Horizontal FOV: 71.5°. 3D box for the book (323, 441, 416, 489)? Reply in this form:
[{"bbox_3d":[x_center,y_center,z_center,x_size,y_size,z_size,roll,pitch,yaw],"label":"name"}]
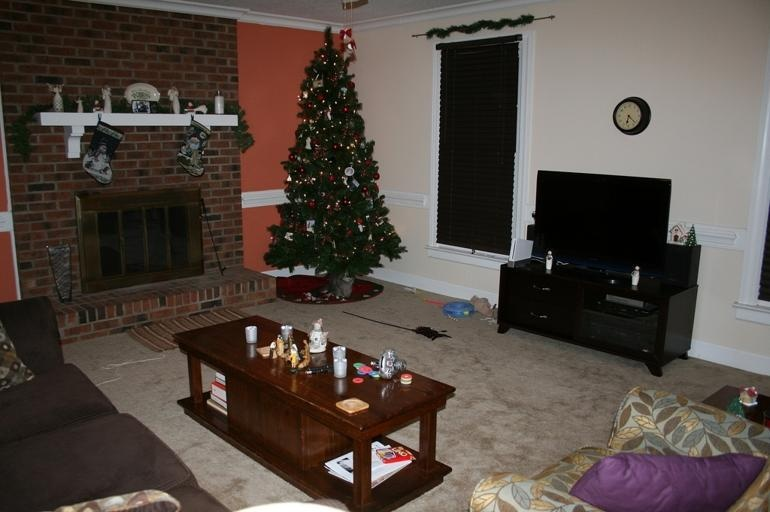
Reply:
[{"bbox_3d":[-0.055,1.343,3.446,0.306,0.040,0.387,15,19,41],"label":"book"}]

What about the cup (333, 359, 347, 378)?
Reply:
[{"bbox_3d":[-0.293,0.734,3.530,0.106,0.116,0.104,0,10,0],"label":"cup"}]

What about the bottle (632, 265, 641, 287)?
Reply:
[{"bbox_3d":[2.291,0.177,4.898,0.075,0.153,0.251,7,13,25],"label":"bottle"}]

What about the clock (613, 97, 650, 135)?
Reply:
[{"bbox_3d":[2.325,-1.338,5.134,0.379,0.365,0.086,-19,19,-14],"label":"clock"}]

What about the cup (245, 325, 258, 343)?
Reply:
[{"bbox_3d":[-0.974,0.575,3.944,0.107,0.116,0.105,0,4,0],"label":"cup"}]

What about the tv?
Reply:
[{"bbox_3d":[2.071,-0.339,5.178,0.341,0.910,1.300,-17,22,-41],"label":"tv"}]

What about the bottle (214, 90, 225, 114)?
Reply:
[{"bbox_3d":[-1.915,-1.781,6.188,0.125,0.286,0.293,-3,13,-16],"label":"bottle"}]

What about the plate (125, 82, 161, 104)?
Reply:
[{"bbox_3d":[-2.554,-1.733,5.655,0.313,0.193,0.188,-10,24,-30],"label":"plate"}]

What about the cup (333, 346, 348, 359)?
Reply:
[{"bbox_3d":[-0.301,0.632,3.563,0.090,0.081,0.088,0,0,0],"label":"cup"}]

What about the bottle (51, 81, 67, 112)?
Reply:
[{"bbox_3d":[-3.247,-1.575,5.309,0.108,0.275,0.189,-6,14,-30],"label":"bottle"}]

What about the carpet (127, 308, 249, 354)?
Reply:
[{"bbox_3d":[-2.034,0.707,5.590,0.740,0.008,0.445,-15,23,-38],"label":"carpet"}]

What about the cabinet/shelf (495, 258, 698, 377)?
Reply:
[{"bbox_3d":[1.901,0.509,5.033,1.925,0.857,0.925,15,20,41],"label":"cabinet/shelf"}]
